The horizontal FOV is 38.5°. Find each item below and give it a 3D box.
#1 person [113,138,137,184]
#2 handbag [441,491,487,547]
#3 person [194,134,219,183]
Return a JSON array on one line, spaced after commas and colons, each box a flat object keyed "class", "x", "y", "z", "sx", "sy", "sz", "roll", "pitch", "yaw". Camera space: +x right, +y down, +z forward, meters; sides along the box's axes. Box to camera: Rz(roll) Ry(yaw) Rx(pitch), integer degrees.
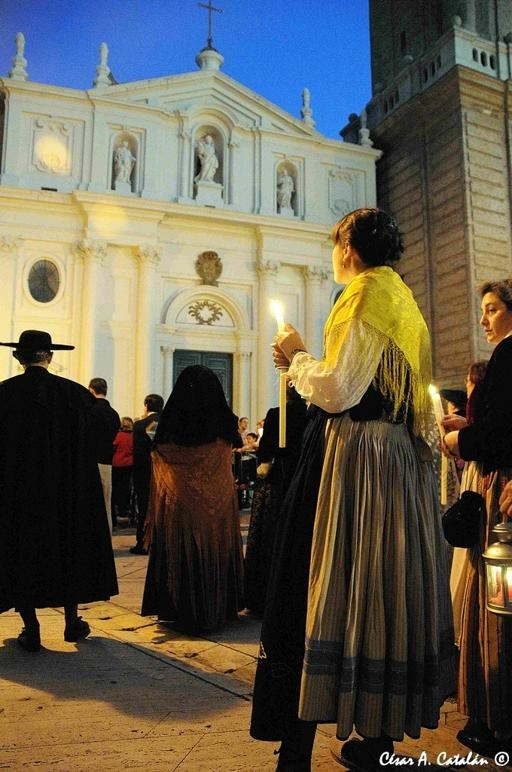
[{"class": "person", "x": -2.573, "y": -4.431, "z": 14.399, "sx": 0.450, "sy": 1.086, "sz": 0.393, "roll": 4, "pitch": -5, "yaw": -37}, {"class": "handbag", "x": 0.724, "y": 0.479, "z": 2.576, "sx": 0.143, "sy": 0.189, "sz": 0.113, "roll": 7, "pitch": 19, "yaw": -11}, {"class": "person", "x": -1.013, "y": -4.790, "z": 15.292, "sx": 0.457, "sy": 1.322, "sz": 0.745, "roll": 1, "pitch": -4, "yaw": 3}]
